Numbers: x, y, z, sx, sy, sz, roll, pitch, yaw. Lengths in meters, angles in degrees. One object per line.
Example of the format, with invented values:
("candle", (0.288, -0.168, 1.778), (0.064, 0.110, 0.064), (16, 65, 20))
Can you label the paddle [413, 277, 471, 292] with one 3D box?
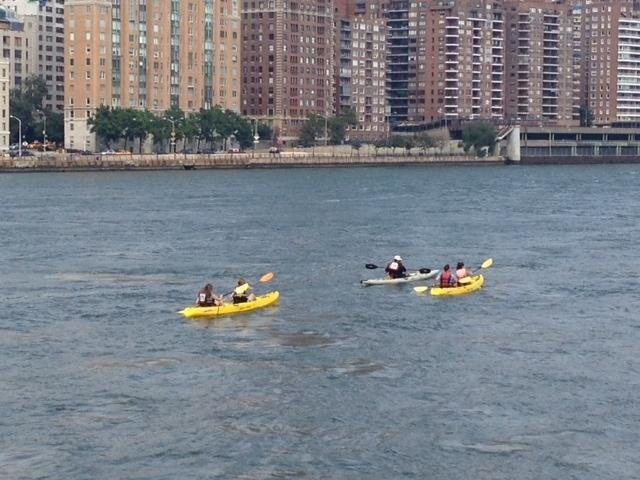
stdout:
("paddle", (8.644, 3.162, 95.537), (3.501, 0.278, 0.513), (-8, 18, -9))
